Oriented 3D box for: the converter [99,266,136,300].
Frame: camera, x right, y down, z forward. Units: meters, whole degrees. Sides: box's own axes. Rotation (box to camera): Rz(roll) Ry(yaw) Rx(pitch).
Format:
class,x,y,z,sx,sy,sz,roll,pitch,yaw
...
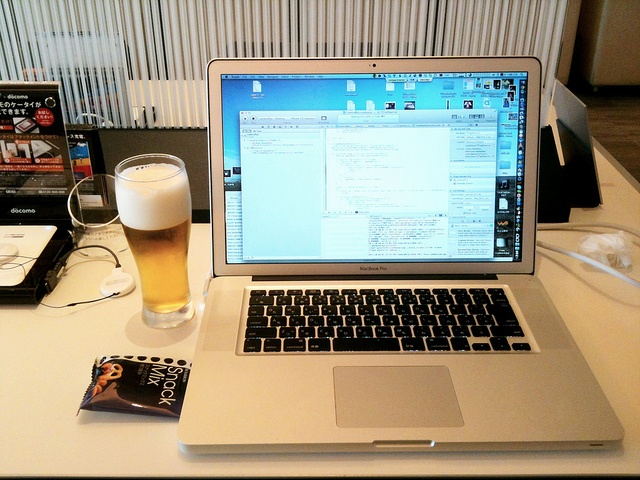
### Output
class,x,y,z,sx,sy,sz,roll,pitch,yaw
converter,-0.388,0.080,0.961,0.064,0.018,0.081,-9,35,-14
